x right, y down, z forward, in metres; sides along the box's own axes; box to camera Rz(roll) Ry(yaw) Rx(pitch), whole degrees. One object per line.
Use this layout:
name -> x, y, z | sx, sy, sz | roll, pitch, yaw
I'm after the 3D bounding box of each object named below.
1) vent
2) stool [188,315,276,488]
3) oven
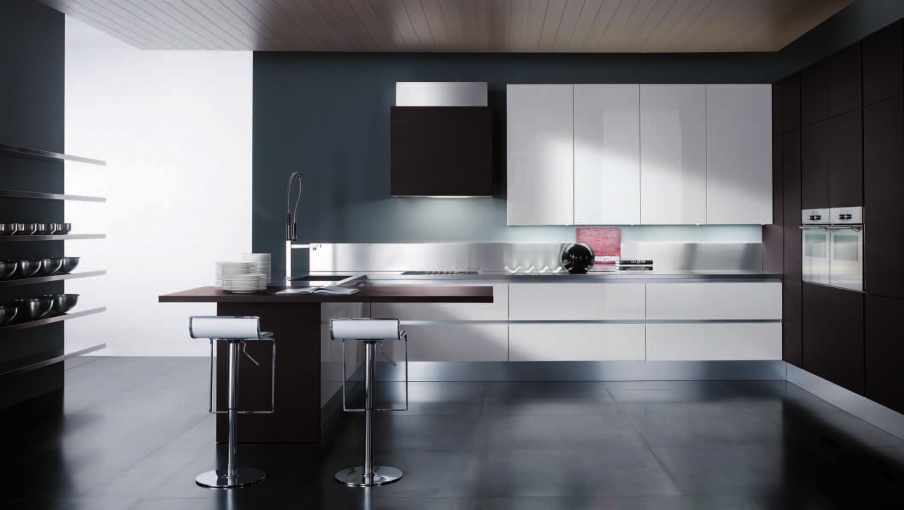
vent -> -0.024, -1.425, 7.422 | 1.257, 1.210, 0.720 | 1, 4, 14
stool -> -1.977, 1.206, 5.527 | 0.867, 1.450, 0.813 | 2, 6, 7
oven -> 3.855, -0.081, 6.569 | 1.004, 0.816, 0.502 | 1, -3, -22
